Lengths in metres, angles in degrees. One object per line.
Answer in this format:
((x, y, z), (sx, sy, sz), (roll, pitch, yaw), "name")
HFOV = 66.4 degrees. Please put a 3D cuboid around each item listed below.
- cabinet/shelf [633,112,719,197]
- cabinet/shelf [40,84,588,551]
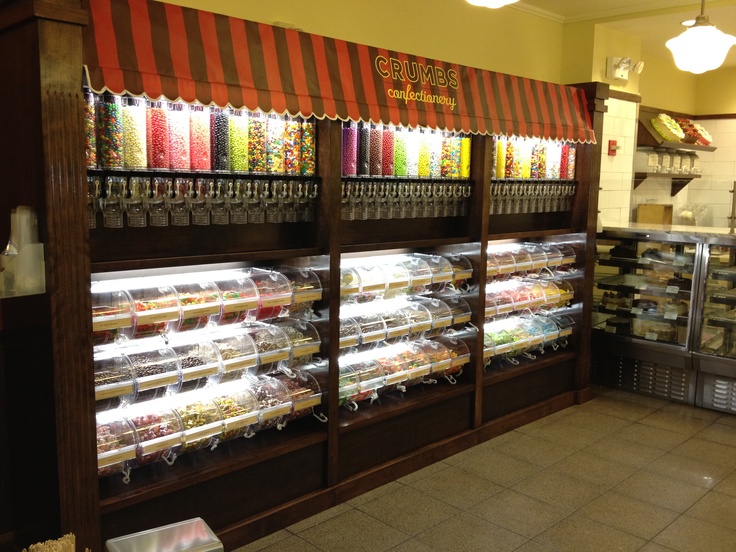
((4.056, -1.617, 7.565), (1.830, 1.039, 0.528), (-9, 16, -43), "cabinet/shelf")
((0.040, 0.191, 3.634), (3.528, 2.291, 0.654), (-7, 15, -35), "cabinet/shelf")
